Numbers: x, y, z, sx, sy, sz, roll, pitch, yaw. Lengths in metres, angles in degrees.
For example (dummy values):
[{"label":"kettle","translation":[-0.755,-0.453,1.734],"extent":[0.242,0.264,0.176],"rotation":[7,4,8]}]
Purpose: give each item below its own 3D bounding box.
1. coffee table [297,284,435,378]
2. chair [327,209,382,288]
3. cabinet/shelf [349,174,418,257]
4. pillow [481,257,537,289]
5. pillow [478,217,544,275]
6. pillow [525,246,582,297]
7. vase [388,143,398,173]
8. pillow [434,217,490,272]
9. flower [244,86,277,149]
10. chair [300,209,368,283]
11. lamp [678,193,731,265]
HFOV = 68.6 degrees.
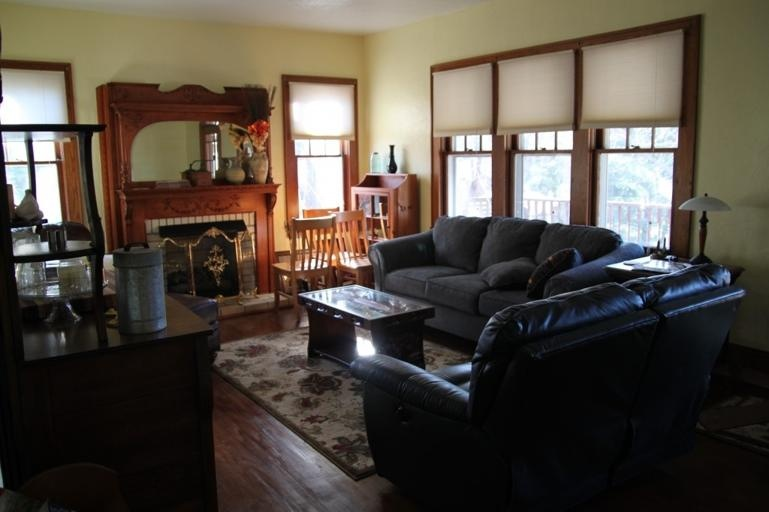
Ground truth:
[{"label":"coffee table","translation":[-0.049,0.420,4.725],"extent":[0.676,0.496,1.031],"rotation":[-7,10,-39]},{"label":"chair","translation":[-0.293,0.015,6.727],"extent":[0.585,0.900,0.620],"rotation":[-6,19,-30]},{"label":"cabinet/shelf","translation":[0.008,-0.483,7.351],"extent":[0.405,1.066,0.695],"rotation":[-14,16,-43]},{"label":"pillow","translation":[1.137,0.169,5.111],"extent":[0.332,0.123,0.318],"rotation":[-4,11,-1]},{"label":"pillow","translation":[1.261,-0.080,5.547],"extent":[0.263,0.455,0.592],"rotation":[4,0,-37]},{"label":"pillow","translation":[1.396,0.141,4.746],"extent":[0.188,0.418,0.429],"rotation":[30,-21,-9]},{"label":"vase","translation":[0.110,-1.262,7.353],"extent":[0.121,0.379,0.251],"rotation":[-1,10,0]},{"label":"pillow","translation":[0.879,-0.096,6.223],"extent":[0.334,0.603,0.863],"rotation":[23,-4,-28]},{"label":"flower","translation":[-1.496,-1.678,6.829],"extent":[0.340,0.802,0.585],"rotation":[-3,10,-8]},{"label":"chair","translation":[-0.596,-0.178,6.956],"extent":[0.509,0.895,0.556],"rotation":[-11,28,-31]},{"label":"lamp","translation":[2.639,-0.225,4.659],"extent":[0.337,0.535,0.555],"rotation":[5,12,30]}]
